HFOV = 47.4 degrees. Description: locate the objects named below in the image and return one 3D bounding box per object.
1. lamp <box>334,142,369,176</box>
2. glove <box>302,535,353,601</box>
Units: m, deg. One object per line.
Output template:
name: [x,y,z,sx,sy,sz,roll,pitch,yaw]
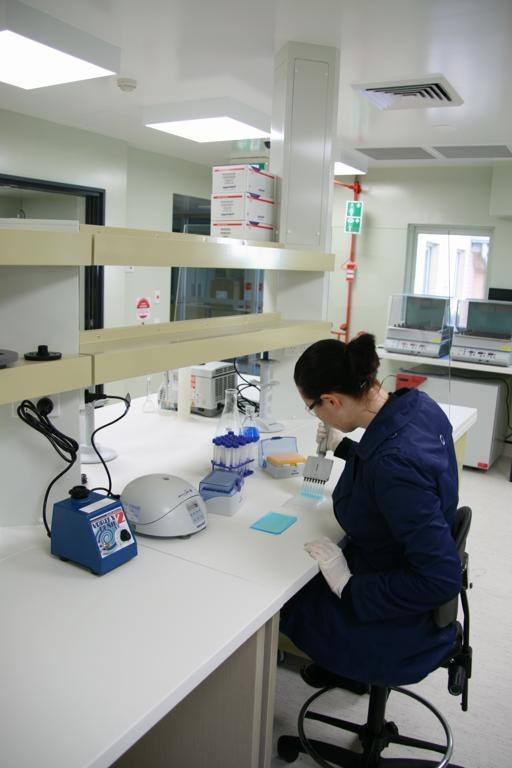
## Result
lamp: [0.770,-1.803,4.690,0.251,0.170,0.776,5,9,8]
glove: [0.160,0.427,1.401,0.087,0.042,0.144,-5,49,-35]
